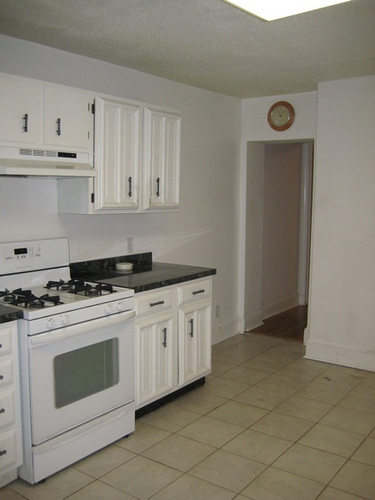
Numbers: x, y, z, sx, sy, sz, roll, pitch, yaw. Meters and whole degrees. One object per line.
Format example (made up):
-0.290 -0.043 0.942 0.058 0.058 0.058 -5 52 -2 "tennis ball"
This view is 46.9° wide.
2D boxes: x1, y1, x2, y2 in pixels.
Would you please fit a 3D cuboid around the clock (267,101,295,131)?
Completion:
0.947 -1.343 4.335 0.350 0.328 0.037 2 10 43 "clock"

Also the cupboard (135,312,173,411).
-0.213 0.704 2.776 0.254 0.553 0.266 8 11 32 "cupboard"

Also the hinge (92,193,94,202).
-0.591 -0.329 2.720 0.005 0.052 0.014 4 5 33 "hinge"
